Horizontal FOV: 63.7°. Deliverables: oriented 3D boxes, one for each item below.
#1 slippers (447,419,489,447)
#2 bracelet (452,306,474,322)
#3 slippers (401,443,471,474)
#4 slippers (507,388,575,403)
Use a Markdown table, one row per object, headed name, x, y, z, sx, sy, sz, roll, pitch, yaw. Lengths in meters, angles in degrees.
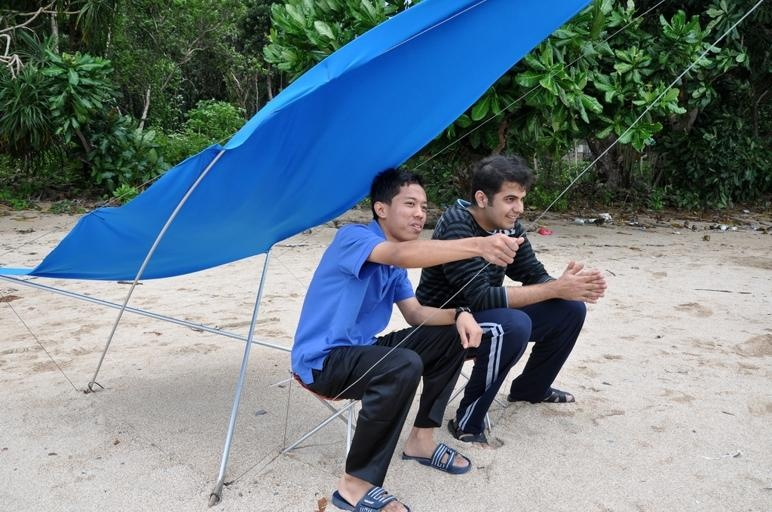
| name | x | y | z | sx | sy | sz | roll | pitch | yaw |
| --- | --- | --- | --- | --- | --- | --- | --- | --- | --- |
| slippers | 0.526 | 1.130 | 3.931 | 0.105 | 0.070 | 0.259 | -15 | 21 | -38 |
| bracelet | 0.471 | 0.350 | 3.741 | 0.094 | 0.041 | 0.071 | -15 | 23 | -1 |
| slippers | 0.329 | 1.217 | 3.769 | 0.299 | 0.100 | 0.150 | 5 | 14 | 20 |
| slippers | 1.073 | 0.972 | 4.265 | 0.408 | 0.109 | 0.159 | -3 | 0 | 1 |
